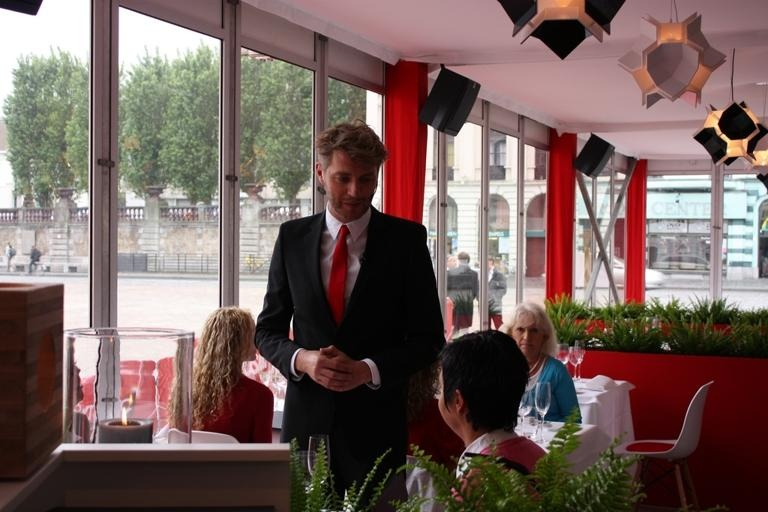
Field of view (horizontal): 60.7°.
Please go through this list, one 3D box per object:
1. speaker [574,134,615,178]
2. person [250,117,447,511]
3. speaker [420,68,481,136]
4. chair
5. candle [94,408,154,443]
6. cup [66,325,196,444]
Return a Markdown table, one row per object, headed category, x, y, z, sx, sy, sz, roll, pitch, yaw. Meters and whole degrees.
| category | x | y | z | sx | sy | sz | roll | pitch | yaw |
| --- | --- | --- | --- | --- | --- | --- | --- | --- | --- |
| speaker | 3.351 | -1.611 | 10.529 | 0.353 | 0.635 | 0.809 | -1 | -1 | 42 |
| person | -0.136 | 0.185 | 2.496 | 0.735 | 1.398 | 0.418 | -1 | -1 | -6 |
| speaker | 0.637 | -1.506 | 6.344 | 0.594 | 0.622 | 0.322 | 0 | -1 | -41 |
| chair | 1.945 | 1.344 | 4.520 | 0.521 | 0.968 | 0.897 | -1 | -1 | 26 |
| candle | -0.549 | 0.360 | 1.373 | 0.081 | 0.066 | 0.083 | 3 | -5 | -19 |
| cup | -0.519 | 0.244 | 1.405 | 0.228 | 0.279 | 0.236 | 1 | -1 | 0 |
